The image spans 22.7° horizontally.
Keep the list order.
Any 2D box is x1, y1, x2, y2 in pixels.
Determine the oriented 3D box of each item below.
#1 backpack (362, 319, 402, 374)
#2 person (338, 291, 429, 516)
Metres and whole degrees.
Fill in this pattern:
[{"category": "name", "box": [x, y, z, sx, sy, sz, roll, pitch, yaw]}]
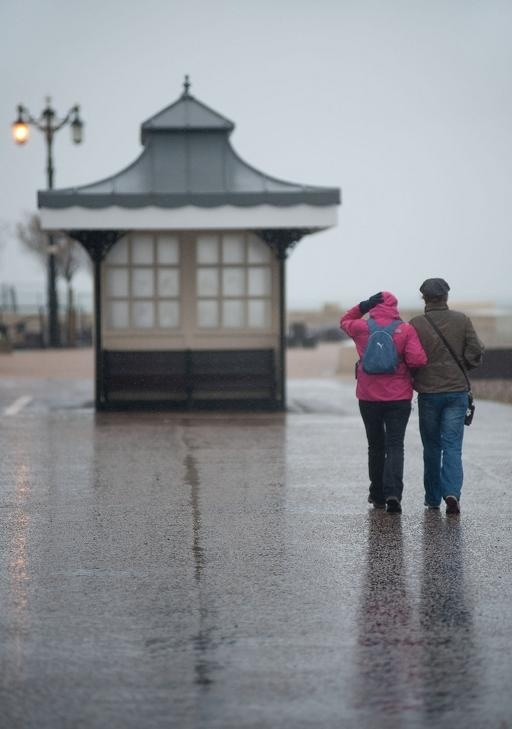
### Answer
[{"category": "backpack", "box": [0.816, -0.097, 8.259, 0.220, 0.398, 0.211, 6, -12, 6]}, {"category": "person", "box": [0.843, 0.236, 8.379, 0.423, 1.419, 0.614, 0, 3, -26]}]
